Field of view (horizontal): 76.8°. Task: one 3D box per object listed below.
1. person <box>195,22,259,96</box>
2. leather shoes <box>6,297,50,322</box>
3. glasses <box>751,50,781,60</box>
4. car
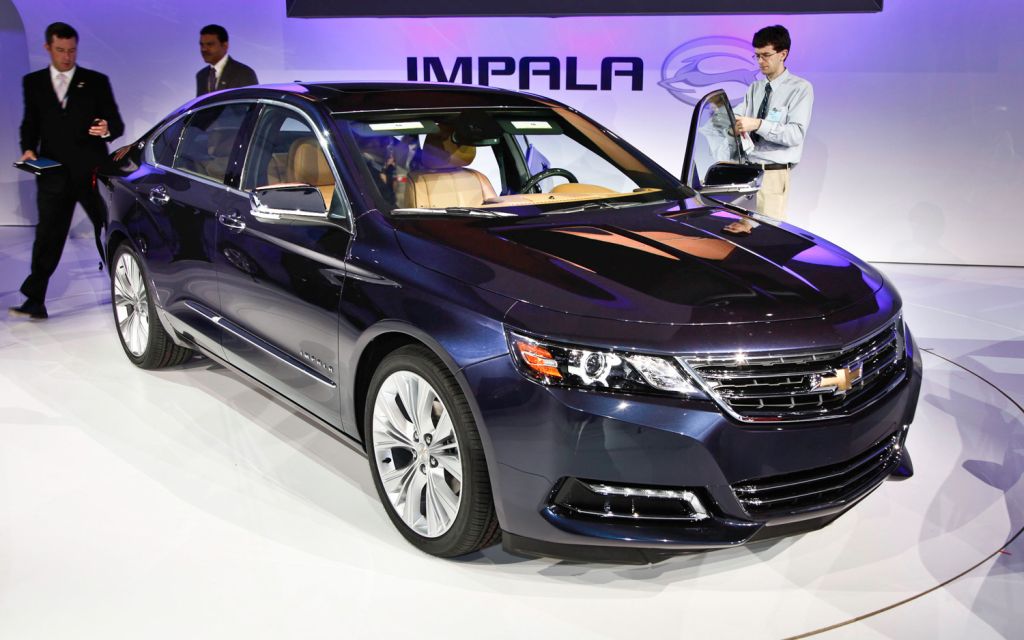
[{"bbox_3d":[-3.449,-2.973,7.667,0.967,0.853,0.512,10,15,20],"label":"person"},{"bbox_3d":[-4.594,-0.115,6.121,0.454,0.160,0.196,14,23,32],"label":"leather shoes"},{"bbox_3d":[2.245,-2.366,5.792,0.151,0.101,0.259,-8,21,-27],"label":"glasses"},{"bbox_3d":[-0.642,-0.299,4.008,2.362,1.512,4.927,-12,20,-41],"label":"car"}]
